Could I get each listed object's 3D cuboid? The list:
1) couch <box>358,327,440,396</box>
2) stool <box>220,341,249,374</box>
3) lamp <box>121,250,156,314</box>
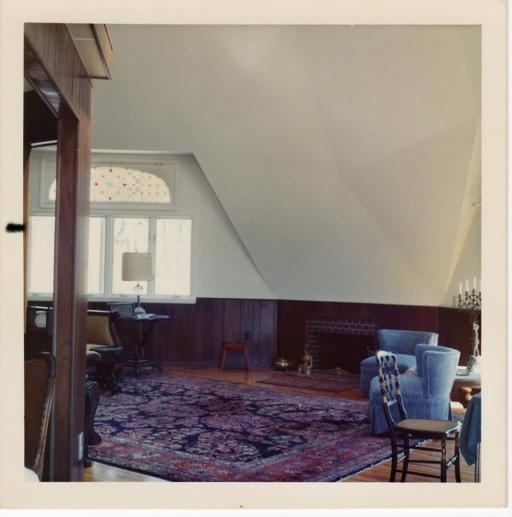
[{"bbox_3d":[1.519,1.008,6.220,0.721,0.873,0.708,-6,-17,36],"label":"couch"},{"bbox_3d":[-0.295,1.344,7.812,0.393,0.451,0.376,0,-10,3],"label":"stool"},{"bbox_3d":[-1.562,0.324,7.575,0.405,0.813,1.284,1,-2,-12],"label":"lamp"}]
